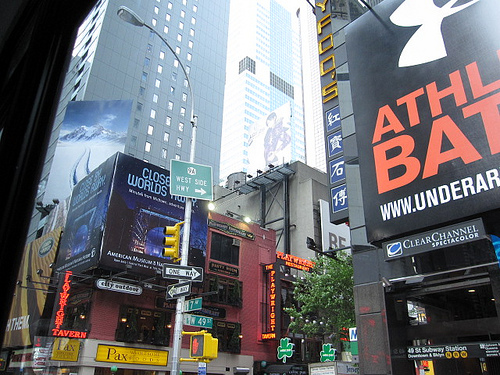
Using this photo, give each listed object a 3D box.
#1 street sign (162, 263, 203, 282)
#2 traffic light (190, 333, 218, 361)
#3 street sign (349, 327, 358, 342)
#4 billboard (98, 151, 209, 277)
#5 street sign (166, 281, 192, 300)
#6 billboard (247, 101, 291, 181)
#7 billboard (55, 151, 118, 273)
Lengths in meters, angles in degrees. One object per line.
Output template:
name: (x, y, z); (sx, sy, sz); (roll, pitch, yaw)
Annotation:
street sign: (-2.259, 2.841, 12.435); (1.309, 0.599, 0.547); (9, -28, -17)
traffic light: (-1.508, 5.017, 11.810); (0.766, 0.891, 0.898); (8, -26, -8)
street sign: (5.274, 7.521, 19.053); (0.255, 0.647, 0.619); (-1, -27, 3)
billboard: (-8.212, 2.451, 29.629); (0.451, 10.252, 9.799); (-22, -37, 36)
street sign: (-2.434, 3.414, 12.555); (0.517, 0.538, 1.435); (15, -31, -27)
billboard: (3.433, -8.538, 67.225); (1.763, 13.409, 9.658); (22, -34, -38)
billboard: (-16.952, 2.615, 37.818); (0.173, 11.471, 10.649); (23, -35, -34)
